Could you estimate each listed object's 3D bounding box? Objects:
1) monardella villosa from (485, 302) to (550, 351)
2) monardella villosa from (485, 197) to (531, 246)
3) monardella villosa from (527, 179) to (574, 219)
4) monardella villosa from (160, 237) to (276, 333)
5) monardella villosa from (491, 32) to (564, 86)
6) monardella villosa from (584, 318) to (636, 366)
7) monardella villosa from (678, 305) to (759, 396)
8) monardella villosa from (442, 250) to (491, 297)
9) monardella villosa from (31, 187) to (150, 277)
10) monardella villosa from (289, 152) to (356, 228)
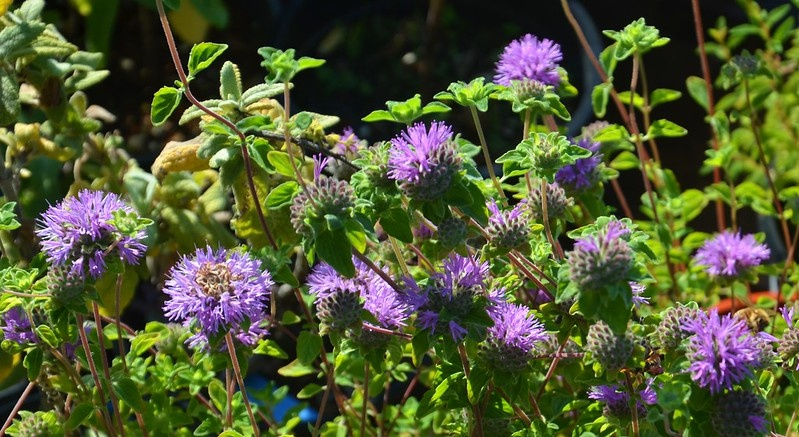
[{"bbox_3d":[0.360,0.332,2.587,0.181,0.174,0.107,-11,22,4],"label":"monardella villosa"},{"bbox_3d":[0.329,0.021,2.557,0.132,0.132,0.104,-11,22,5],"label":"monardella villosa"},{"bbox_3d":[0.481,-0.052,2.725,0.117,0.124,0.116,-23,44,-1],"label":"monardella villosa"},{"bbox_3d":[-0.575,0.215,2.590,0.329,0.174,0.339,0,10,16],"label":"monardella villosa"},{"bbox_3d":[0.408,-0.518,2.710,0.177,0.185,0.174,-30,38,-27],"label":"monardella villosa"},{"bbox_3d":[0.627,0.383,2.501,0.127,0.137,0.134,-4,63,13],"label":"monardella villosa"},{"bbox_3d":[0.940,0.398,2.456,0.213,0.250,0.159,-4,23,19],"label":"monardella villosa"},{"bbox_3d":[0.201,0.164,2.545,0.120,0.079,0.126,16,27,10],"label":"monardella villosa"},{"bbox_3d":[-0.915,0.054,2.543,0.276,0.291,0.290,-3,55,-13],"label":"monardella villosa"},{"bbox_3d":[-0.237,-0.067,2.503,0.169,0.187,0.172,-28,27,-33],"label":"monardella villosa"}]
